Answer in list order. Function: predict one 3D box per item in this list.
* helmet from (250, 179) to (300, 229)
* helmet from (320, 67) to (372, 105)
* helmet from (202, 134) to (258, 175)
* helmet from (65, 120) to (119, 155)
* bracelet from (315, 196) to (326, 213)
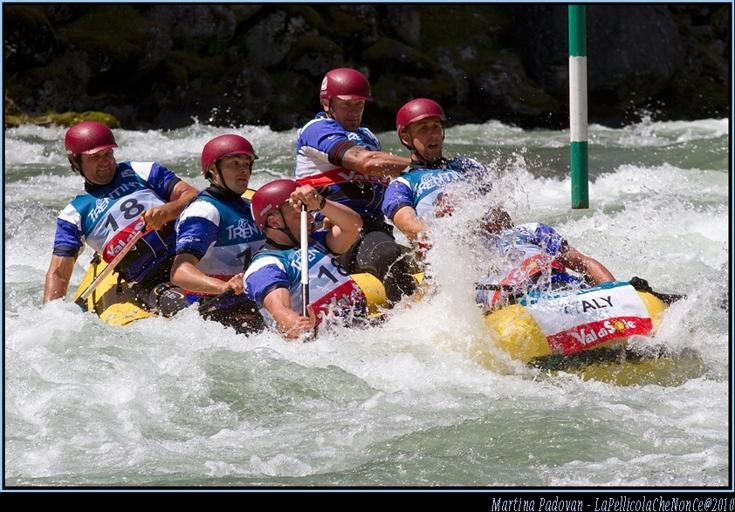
[{"bbox_3d":[-0.805,-0.496,9.120,0.495,0.333,0.348,-18,16,11],"label":"helmet"},{"bbox_3d":[-0.193,-1.711,10.284,0.538,0.309,0.699,-10,13,-30],"label":"helmet"},{"bbox_3d":[-1.216,-0.966,9.674,0.402,0.248,0.453,0,-10,-12],"label":"helmet"},{"bbox_3d":[-2.719,-1.134,10.139,0.446,0.192,0.348,-5,11,37],"label":"helmet"},{"bbox_3d":[-0.404,-0.464,9.049,0.040,0.094,0.074,29,32,3],"label":"bracelet"}]
